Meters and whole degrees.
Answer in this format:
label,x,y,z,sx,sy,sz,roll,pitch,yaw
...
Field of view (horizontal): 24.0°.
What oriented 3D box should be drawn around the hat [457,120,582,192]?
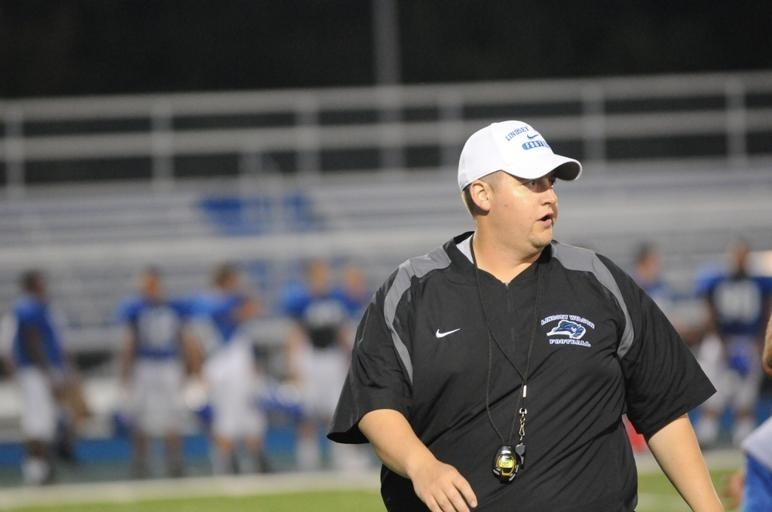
label,x,y,z,sx,sy,sz,roll,pitch,yaw
hat,0.811,-0.658,11.261,0.746,0.426,0.567,-10,-2,37
